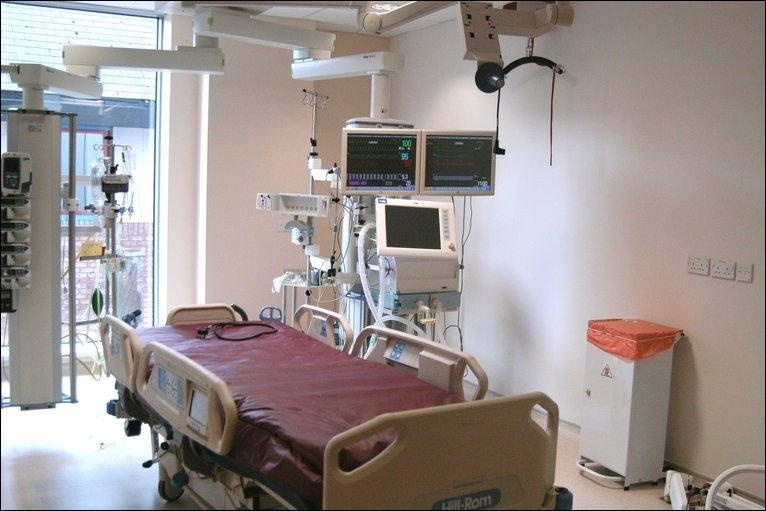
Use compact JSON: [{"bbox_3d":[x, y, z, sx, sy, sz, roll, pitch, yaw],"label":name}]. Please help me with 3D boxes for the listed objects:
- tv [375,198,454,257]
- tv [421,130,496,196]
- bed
[{"bbox_3d":[0.222,-0.200,4.429,0.425,0.300,0.072,1,-13,-14],"label":"tv"},{"bbox_3d":[0.526,-0.682,4.377,0.471,0.390,0.049,0,4,-5],"label":"tv"},{"bbox_3d":[-0.527,0.773,3.277,1.325,0.801,2.164,0,5,-39],"label":"bed"}]
